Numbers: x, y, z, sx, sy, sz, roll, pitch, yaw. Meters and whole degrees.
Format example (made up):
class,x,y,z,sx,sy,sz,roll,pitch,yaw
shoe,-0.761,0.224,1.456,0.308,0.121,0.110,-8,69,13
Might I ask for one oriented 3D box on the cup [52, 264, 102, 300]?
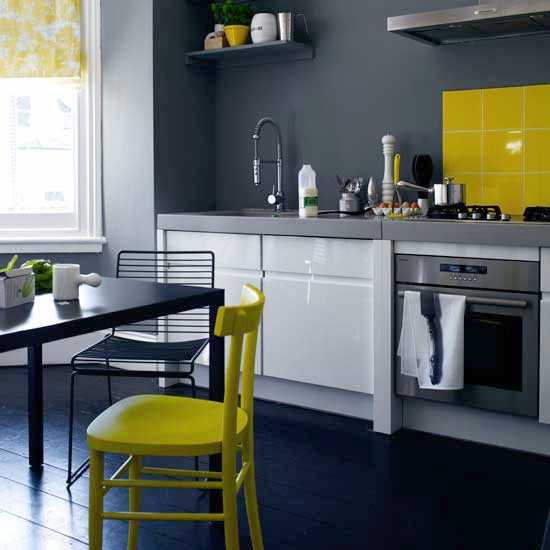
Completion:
class,x,y,z,sx,sy,sz,roll,pitch,yaw
cup,-0.540,0.015,1.482,0.120,0.100,0.074,7,20,-4

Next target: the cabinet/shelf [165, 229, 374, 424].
class,x,y,z,sx,sy,sz,roll,pitch,yaw
cabinet/shelf,0.047,0.103,3.017,1.154,0.975,0.711,3,13,18

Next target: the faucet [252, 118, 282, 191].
class,x,y,z,sx,sy,sz,roll,pitch,yaw
faucet,-0.026,-0.656,3.300,0.185,0.540,0.066,-2,11,-18

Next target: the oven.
class,x,y,z,sx,sy,sz,roll,pitch,yaw
oven,0.835,0.209,2.452,0.660,0.809,0.499,0,0,34

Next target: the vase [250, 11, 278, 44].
class,x,y,z,sx,sy,sz,roll,pitch,yaw
vase,-0.055,-1.453,3.262,0.160,0.192,0.176,5,13,25

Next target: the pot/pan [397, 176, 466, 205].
class,x,y,z,sx,sy,sz,roll,pitch,yaw
pot/pan,0.750,-0.398,2.684,0.335,0.164,0.146,1,3,10

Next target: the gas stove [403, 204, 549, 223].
class,x,y,z,sx,sy,sz,roll,pitch,yaw
gas stove,0.971,-0.284,2.481,0.562,0.092,0.349,4,6,42

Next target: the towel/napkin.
class,x,y,z,sx,sy,sz,roll,pitch,yaw
towel/napkin,0.650,0.264,2.221,0.075,0.531,0.364,-1,2,-45
